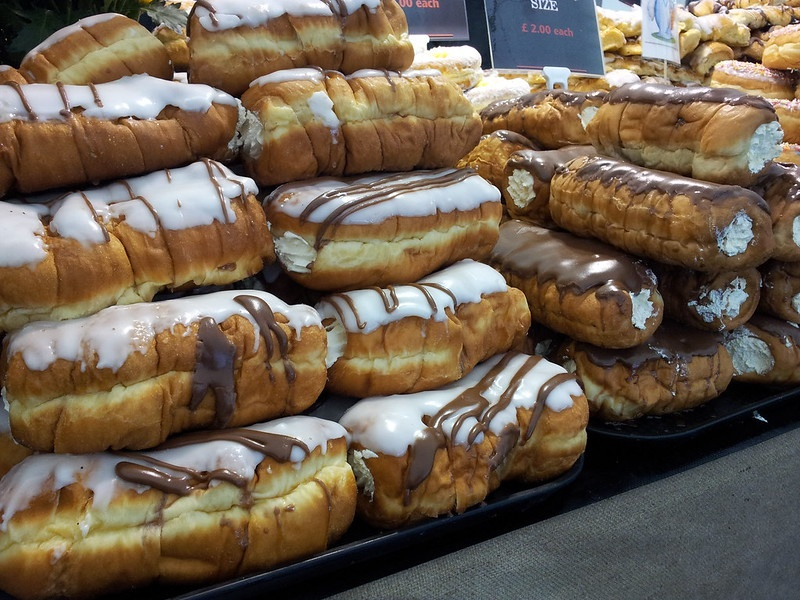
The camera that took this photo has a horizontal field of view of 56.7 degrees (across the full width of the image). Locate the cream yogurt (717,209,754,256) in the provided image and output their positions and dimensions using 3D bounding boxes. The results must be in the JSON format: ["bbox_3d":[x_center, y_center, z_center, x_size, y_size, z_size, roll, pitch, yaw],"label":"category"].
[{"bbox_3d":[0.783,-0.151,1.725,0.102,0.099,0.027,-21,30,-21],"label":"cream yogurt"}]

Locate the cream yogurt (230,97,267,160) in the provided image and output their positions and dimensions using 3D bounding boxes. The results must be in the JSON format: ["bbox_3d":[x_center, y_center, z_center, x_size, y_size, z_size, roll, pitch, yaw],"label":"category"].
[{"bbox_3d":[-0.319,-0.349,1.510,0.076,0.103,0.035,-8,25,-9],"label":"cream yogurt"}]

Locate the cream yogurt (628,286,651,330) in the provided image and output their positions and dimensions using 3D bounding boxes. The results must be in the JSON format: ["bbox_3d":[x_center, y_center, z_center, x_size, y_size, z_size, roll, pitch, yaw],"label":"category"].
[{"bbox_3d":[0.578,0.016,1.777,0.068,0.091,0.023,9,-5,-31],"label":"cream yogurt"}]
